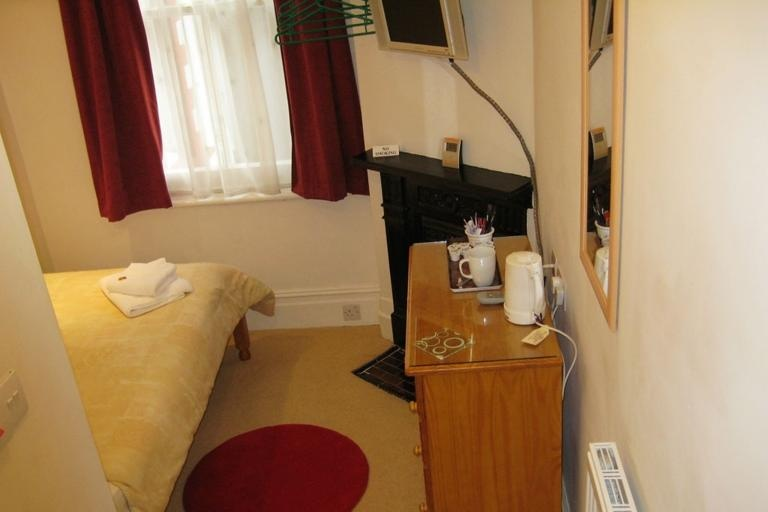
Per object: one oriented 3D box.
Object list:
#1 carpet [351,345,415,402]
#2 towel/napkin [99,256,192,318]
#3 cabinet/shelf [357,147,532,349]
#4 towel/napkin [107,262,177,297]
[{"bbox_3d":[0.062,0.782,3.917,0.410,0.023,0.392,21,37,39],"label":"carpet"},{"bbox_3d":[-1.421,0.188,3.355,0.384,0.130,0.375,-26,38,-36],"label":"towel/napkin"},{"bbox_3d":[0.341,-0.106,3.039,1.052,1.278,0.321,23,46,30],"label":"cabinet/shelf"},{"bbox_3d":[-1.438,0.130,3.395,0.267,0.092,0.263,15,26,42],"label":"towel/napkin"}]
